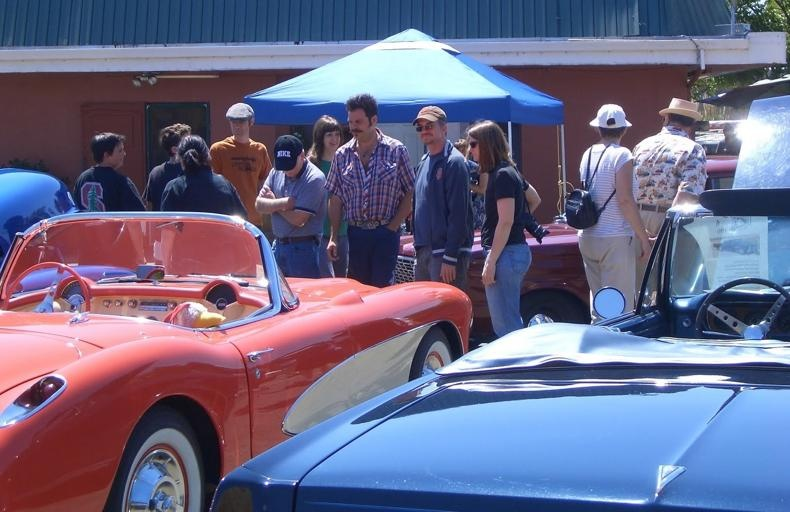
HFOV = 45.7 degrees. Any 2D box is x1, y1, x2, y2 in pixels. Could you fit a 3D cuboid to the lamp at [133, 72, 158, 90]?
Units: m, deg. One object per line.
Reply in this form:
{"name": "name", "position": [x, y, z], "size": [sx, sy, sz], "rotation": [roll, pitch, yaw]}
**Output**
{"name": "lamp", "position": [-3.981, -2.784, 14.955], "size": [0.405, 0.205, 0.671], "rotation": [-3, 9, -16]}

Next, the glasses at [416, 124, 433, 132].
{"name": "glasses", "position": [0.238, -1.065, 7.840], "size": [0.069, 0.058, 0.212], "rotation": [-4, 9, -23]}

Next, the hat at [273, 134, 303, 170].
{"name": "hat", "position": [-0.914, -0.907, 8.125], "size": [0.181, 0.336, 0.166], "rotation": [4, -33, 10]}

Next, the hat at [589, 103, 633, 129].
{"name": "hat", "position": [1.997, -1.238, 8.623], "size": [0.356, 0.214, 0.516], "rotation": [2, 8, 12]}

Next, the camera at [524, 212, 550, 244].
{"name": "camera", "position": [1.233, -0.281, 8.015], "size": [0.279, 0.105, 0.212], "rotation": [48, -13, -14]}

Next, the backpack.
{"name": "backpack", "position": [1.784, -0.627, 8.253], "size": [0.288, 0.820, 0.410], "rotation": [3, -2, -24]}

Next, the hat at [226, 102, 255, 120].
{"name": "hat", "position": [-1.536, -1.422, 9.431], "size": [0.173, 0.113, 0.276], "rotation": [1, 10, 3]}

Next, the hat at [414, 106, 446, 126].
{"name": "hat", "position": [0.301, -1.177, 7.887], "size": [0.250, 0.142, 0.301], "rotation": [-1, 9, -4]}

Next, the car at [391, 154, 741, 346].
{"name": "car", "position": [1.958, -0.025, 9.734], "size": [2.982, 1.625, 1.774], "rotation": [-8, 10, -15]}
